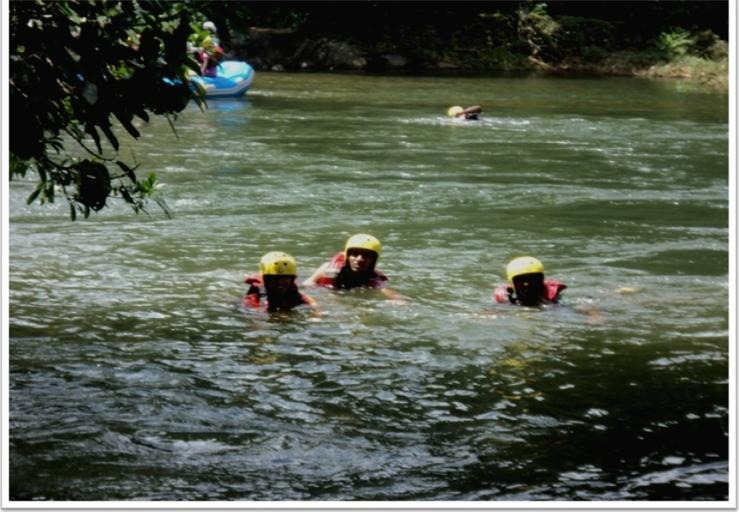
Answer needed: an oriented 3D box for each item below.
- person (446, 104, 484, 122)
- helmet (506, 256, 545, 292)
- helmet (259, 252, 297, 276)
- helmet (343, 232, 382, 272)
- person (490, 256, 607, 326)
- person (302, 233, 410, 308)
[{"bbox_3d":[2.770,-4.087,29.174,0.998,0.235,0.777,4,3,-17],"label":"person"},{"bbox_3d":[2.180,0.187,14.165,0.572,0.333,0.506,-3,-27,-9],"label":"helmet"},{"bbox_3d":[-1.210,0.110,13.499,0.426,0.298,0.292,0,8,-10],"label":"helmet"},{"bbox_3d":[-0.088,-0.070,14.513,0.612,0.495,0.482,5,26,0],"label":"helmet"},{"bbox_3d":[2.485,0.529,14.337,1.556,0.396,0.334,-3,16,-2],"label":"person"},{"bbox_3d":[-0.174,0.156,14.509,1.716,0.563,1.657,4,-17,-2],"label":"person"}]
